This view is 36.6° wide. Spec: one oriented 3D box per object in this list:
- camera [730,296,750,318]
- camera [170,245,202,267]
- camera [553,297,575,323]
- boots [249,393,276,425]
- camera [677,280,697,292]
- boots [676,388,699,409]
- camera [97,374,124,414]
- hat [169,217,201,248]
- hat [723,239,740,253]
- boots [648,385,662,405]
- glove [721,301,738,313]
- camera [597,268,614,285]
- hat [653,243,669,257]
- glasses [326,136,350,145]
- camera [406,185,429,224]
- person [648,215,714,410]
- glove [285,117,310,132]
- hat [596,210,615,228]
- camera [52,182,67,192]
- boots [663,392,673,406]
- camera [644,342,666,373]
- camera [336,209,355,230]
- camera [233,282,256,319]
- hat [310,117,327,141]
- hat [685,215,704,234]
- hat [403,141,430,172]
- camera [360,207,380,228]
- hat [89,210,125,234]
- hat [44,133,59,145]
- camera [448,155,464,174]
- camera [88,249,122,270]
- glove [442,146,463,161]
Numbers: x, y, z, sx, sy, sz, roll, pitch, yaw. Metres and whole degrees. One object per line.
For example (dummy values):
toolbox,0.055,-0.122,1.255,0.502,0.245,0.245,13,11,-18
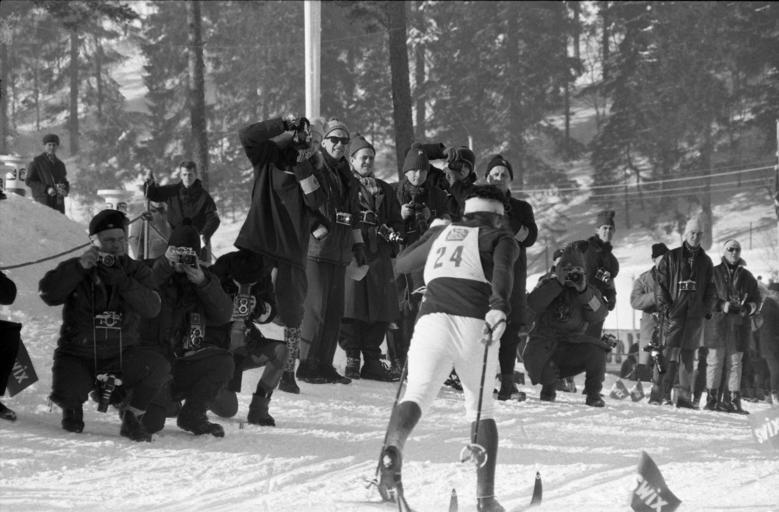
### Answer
camera,6.581,0.995,22.029,0.349,0.165,0.465,14,17,26
camera,-2.978,0.021,17.201,0.438,0.336,0.202,3,-6,-14
camera,2.994,0.915,20.139,0.306,0.415,0.168,1,-2,7
boots,-1.924,2.336,17.788,0.413,0.483,0.308,2,-6,-8
camera,5.396,0.544,21.342,0.310,0.212,0.096,0,-6,10
boots,5.353,2.605,21.323,0.442,0.436,0.273,3,-10,-2
camera,-4.027,1.971,16.803,0.538,0.539,0.350,4,-1,9
hat,-3.017,-0.305,17.560,0.350,0.396,0.534,3,2,0
hat,6.515,-0.182,22.408,0.198,0.238,0.270,9,-23,10
boots,4.798,2.513,21.316,0.239,0.339,0.382,0,-6,17
glove,6.263,0.976,21.708,0.216,0.071,0.222,-13,-19,34
camera,3.975,0.373,21.700,0.222,0.271,0.108,24,-57,-17
hat,5.028,-0.099,21.953,0.229,0.274,0.290,-14,13,5
glasses,-0.837,-1.865,19.073,0.371,0.121,0.178,2,-6,-7
camera,0.508,-0.884,20.351,0.562,0.551,0.218,9,-49,-23
person,5.317,1.044,21.459,1.129,3.423,0.560,0,-6,14
glove,-1.451,-2.031,18.177,0.272,0.123,0.209,9,3,34
hat,4.123,-0.676,22.447,0.268,0.299,0.358,3,-32,7
camera,-7.150,-1.504,25.758,0.167,0.157,0.221,8,6,-15
boots,5.101,2.668,21.532,0.158,0.285,0.262,4,-36,10
camera,4.864,1.862,21.506,0.339,0.554,0.547,1,-5,1
camera,-0.711,-0.605,19.187,0.255,0.186,0.239,4,-4,-16
camera,-2.166,0.701,17.706,0.309,0.523,0.124,2,-6,-8
hat,-1.159,-2.050,19.159,0.289,0.263,0.426,12,-35,-1
hat,5.621,-0.532,21.532,0.273,0.330,0.369,8,-17,4
hat,0.490,-1.702,20.505,0.431,0.482,0.466,2,-6,-4
camera,-0.317,-0.663,20.206,0.326,0.115,0.224,29,-58,-38
hat,-4.083,-0.471,16.988,0.446,0.236,0.321,-26,0,10
hat,-7.265,-2.508,25.351,0.273,0.275,0.331,-1,1,-8
camera,1.134,-1.560,20.114,0.267,0.264,0.104,9,9,-2
camera,-4.073,0.053,16.831,0.276,0.359,0.137,50,2,-25
glove,1.115,-1.754,20.240,0.327,0.310,0.447,1,-5,0
